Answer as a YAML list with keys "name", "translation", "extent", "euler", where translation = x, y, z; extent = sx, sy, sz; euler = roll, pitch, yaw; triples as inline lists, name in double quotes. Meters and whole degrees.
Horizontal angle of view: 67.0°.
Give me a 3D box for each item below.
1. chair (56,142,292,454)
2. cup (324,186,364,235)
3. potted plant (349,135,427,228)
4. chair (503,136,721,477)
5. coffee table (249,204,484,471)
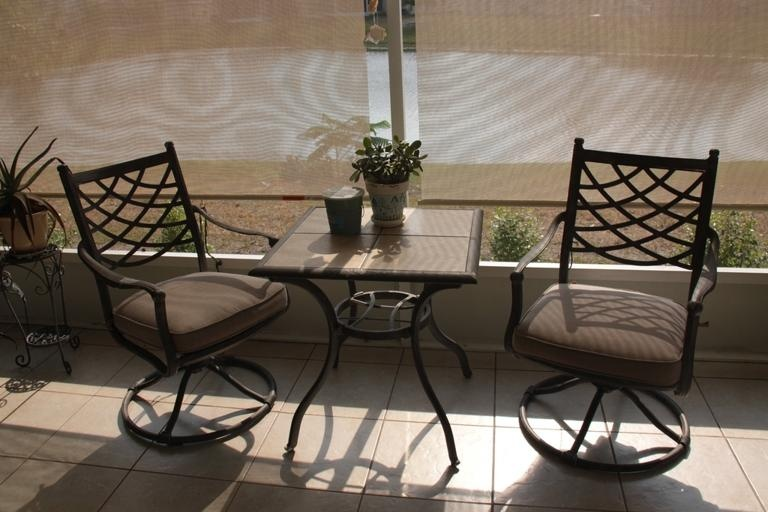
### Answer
- name: "chair"
  translation: [-1.079, 0.219, 3.146]
  extent: [1.138, 1.292, 1.005]
  euler: [5, 21, -1]
- name: "cup"
  translation: [-0.209, -0.230, 3.000]
  extent: [0.223, 0.181, 0.217]
  euler: [0, 16, 0]
- name: "potted plant"
  translation: [0.029, -0.378, 3.031]
  extent: [0.427, 0.417, 0.368]
  euler: [-10, 5, -21]
- name: "chair"
  translation: [1.230, 0.159, 3.004]
  extent: [0.919, 1.477, 1.277]
  euler: [12, 26, 29]
- name: "coffee table"
  translation: [0.020, 0.463, 3.226]
  extent: [1.385, 1.231, 1.294]
  euler: [3, 28, 9]
